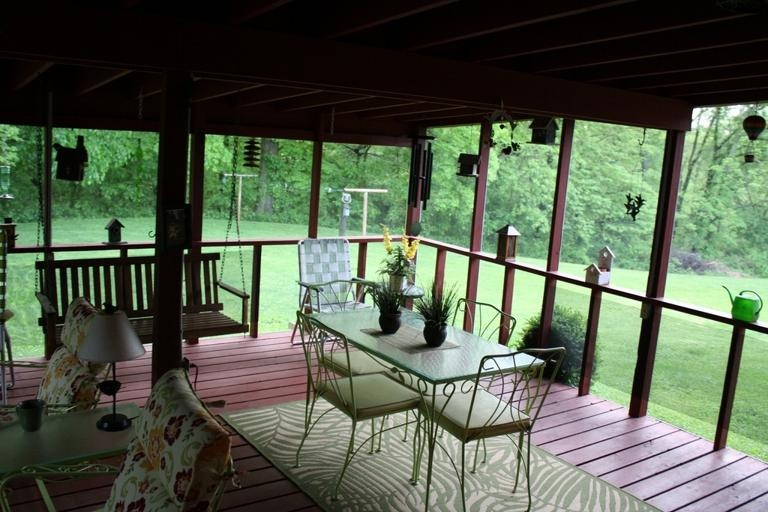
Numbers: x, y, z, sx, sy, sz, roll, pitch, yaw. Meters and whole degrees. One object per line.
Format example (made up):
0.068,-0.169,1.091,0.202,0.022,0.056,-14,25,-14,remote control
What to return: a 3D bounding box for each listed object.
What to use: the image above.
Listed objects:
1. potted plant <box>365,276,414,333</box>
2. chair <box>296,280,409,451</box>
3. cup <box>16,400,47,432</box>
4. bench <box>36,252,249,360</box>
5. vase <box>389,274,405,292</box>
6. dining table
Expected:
0.164,0.437,4.609,0.419,0.482,0.392,-2,5,-18,potted plant
-0.464,0.860,5.596,1.324,1.781,1.448,-1,3,-25,chair
-2.138,0.968,3.213,0.184,0.157,0.184,-1,-8,0,cup
-2.450,0.530,5.465,1.932,0.838,0.673,-2,16,-43,bench
0.140,0.301,5.819,0.165,0.153,0.181,5,5,31,vase
0.485,0.971,4.260,1.668,0.881,1.598,-5,11,-39,dining table
